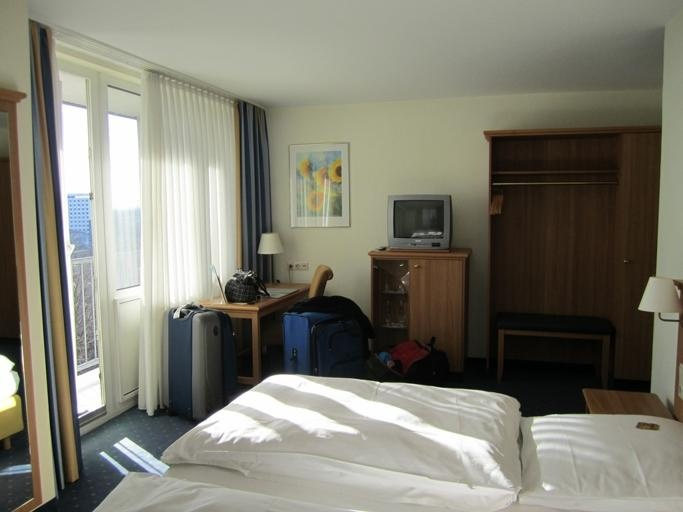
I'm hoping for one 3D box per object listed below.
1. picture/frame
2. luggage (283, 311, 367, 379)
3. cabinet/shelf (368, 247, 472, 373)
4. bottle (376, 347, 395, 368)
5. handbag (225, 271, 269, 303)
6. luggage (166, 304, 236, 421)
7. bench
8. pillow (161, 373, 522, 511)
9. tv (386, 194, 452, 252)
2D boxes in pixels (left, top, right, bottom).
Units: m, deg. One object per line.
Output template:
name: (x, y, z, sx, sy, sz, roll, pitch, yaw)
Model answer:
picture/frame: (-0.227, -0.822, 5.919, 0.869, 1.183, 0.040, 1, 7, 18)
luggage: (-0.185, 0.835, 4.848, 0.658, 0.730, 0.483, -10, 9, -37)
cabinet/shelf: (0.768, 0.517, 5.484, 0.904, 1.228, 0.461, 4, 15, 20)
bottle: (0.410, 0.958, 4.987, 0.088, 0.092, 0.151, -3, 20, -27)
handbag: (-0.866, 0.293, 4.921, 0.417, 0.296, 0.278, 2, 6, -26)
luggage: (-1.227, 0.890, 4.536, 0.496, 0.870, 0.561, -2, -1, 23)
bench: (2.030, 0.881, 5.178, 0.960, 0.642, 0.582, 0, 10, 17)
pillow: (0.026, 0.959, 2.756, 1.189, 0.232, 0.843, 1, 7, 19)
tv: (0.800, -0.326, 5.477, 0.836, 0.781, 0.472, 2, 6, 15)
